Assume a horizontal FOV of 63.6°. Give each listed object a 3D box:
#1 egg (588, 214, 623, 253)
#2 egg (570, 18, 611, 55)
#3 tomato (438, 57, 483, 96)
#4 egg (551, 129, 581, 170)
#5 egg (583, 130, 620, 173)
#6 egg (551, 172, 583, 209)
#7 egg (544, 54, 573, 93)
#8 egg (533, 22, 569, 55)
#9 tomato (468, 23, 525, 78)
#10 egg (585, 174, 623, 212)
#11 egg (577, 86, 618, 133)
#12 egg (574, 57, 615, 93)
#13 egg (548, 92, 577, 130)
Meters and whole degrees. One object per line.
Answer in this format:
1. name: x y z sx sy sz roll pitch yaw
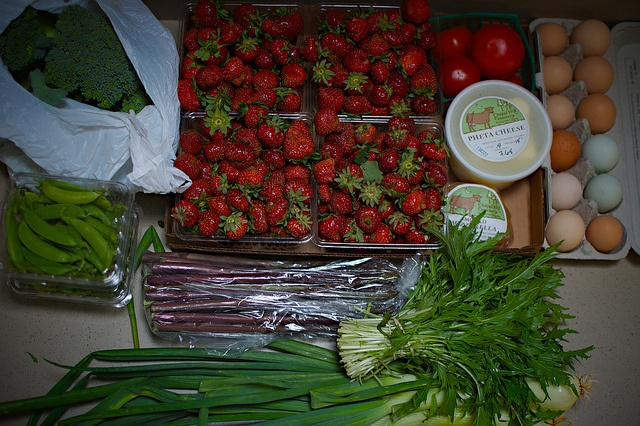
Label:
1. egg: 1.232 0.078 2.299 0.158 0.150 0.155 5 31 17
2. egg: 1.242 -0.790 2.345 0.197 0.169 0.065 4 -9 -4
3. tomato: 0.601 -0.596 2.214 0.192 0.159 0.167 3 34 10
4. egg: 1.085 -0.281 2.311 0.138 0.188 0.142 4 -5 -27
5. egg: 1.275 -0.268 2.354 0.157 0.213 0.168 -6 14 -5
6. egg: 1.051 -0.103 2.280 0.132 0.181 0.144 0 9 14
7. egg: 1.055 -0.617 2.301 0.104 0.117 0.130 19 -20 14
8. egg: 1.058 -0.788 2.373 0.132 0.183 0.143 1 1 16
9. tomato: 0.786 -0.710 2.324 0.249 0.275 0.246 0 2 -20
10. egg: 1.267 -0.083 2.299 0.177 0.167 0.094 7 -10 -26
11. egg: 1.258 -0.446 2.325 0.197 0.190 0.081 5 -9 -13
12. egg: 1.224 -0.617 2.309 0.140 0.165 0.177 -6 1 9
13. egg: 1.082 -0.446 2.299 0.185 0.155 0.067 9 -11 -33
